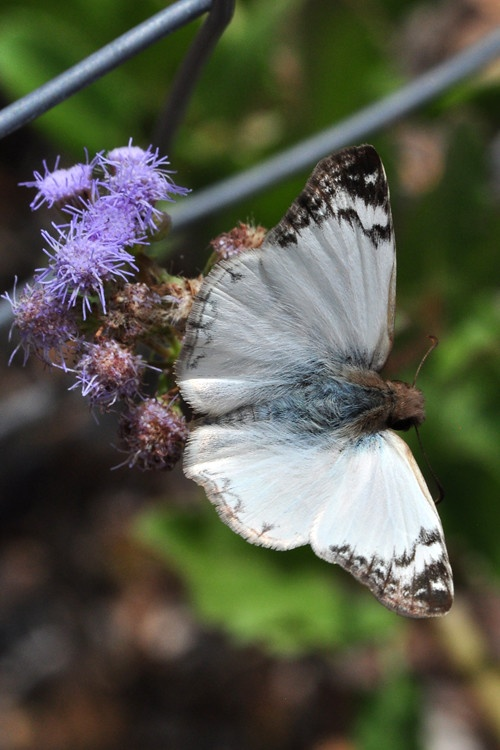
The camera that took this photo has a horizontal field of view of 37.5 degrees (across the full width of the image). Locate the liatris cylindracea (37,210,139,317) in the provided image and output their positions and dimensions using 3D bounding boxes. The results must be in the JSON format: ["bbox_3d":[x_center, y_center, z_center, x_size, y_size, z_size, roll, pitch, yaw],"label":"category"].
[{"bbox_3d":[-0.170,-0.120,0.816,0.103,0.108,0.099,-8,23,-17],"label":"liatris cylindracea"}]
